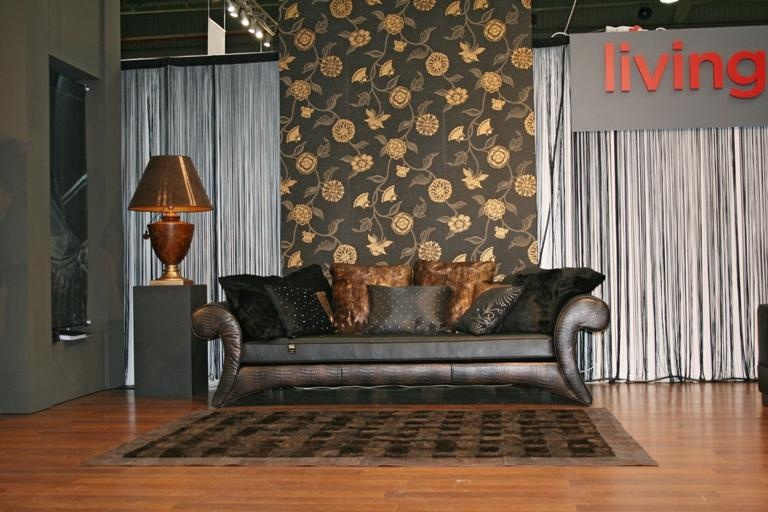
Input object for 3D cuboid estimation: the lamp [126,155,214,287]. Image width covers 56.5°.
[{"bbox_3d":[-1.948,-0.343,6.669,0.698,1.230,0.568,-1,0,-2],"label":"lamp"}]
